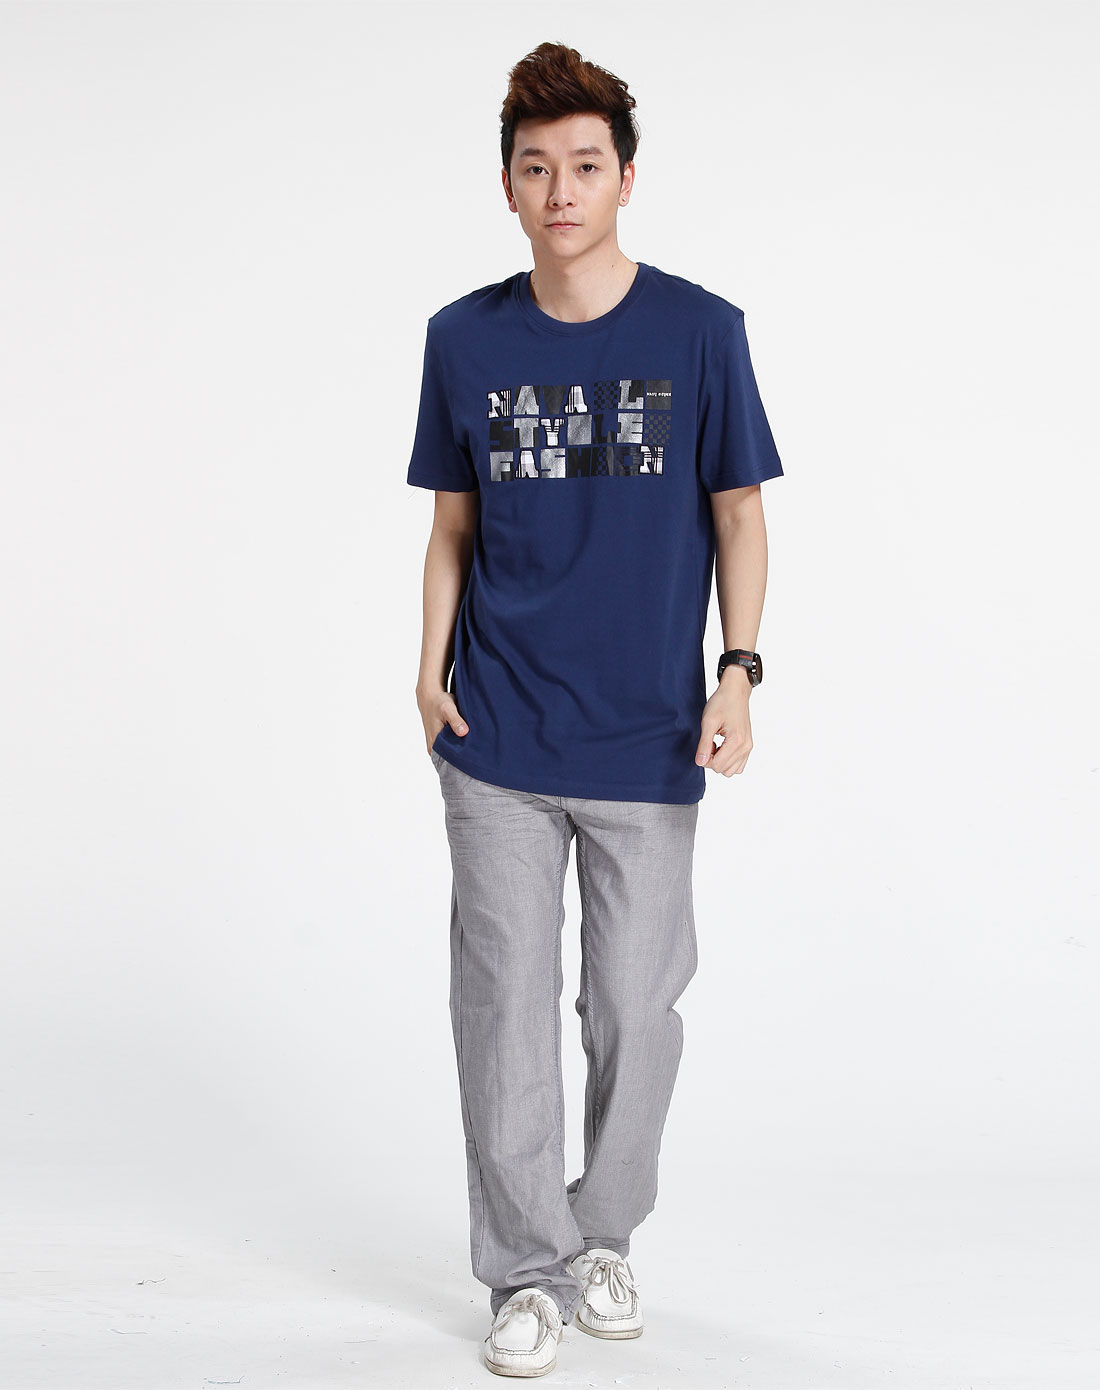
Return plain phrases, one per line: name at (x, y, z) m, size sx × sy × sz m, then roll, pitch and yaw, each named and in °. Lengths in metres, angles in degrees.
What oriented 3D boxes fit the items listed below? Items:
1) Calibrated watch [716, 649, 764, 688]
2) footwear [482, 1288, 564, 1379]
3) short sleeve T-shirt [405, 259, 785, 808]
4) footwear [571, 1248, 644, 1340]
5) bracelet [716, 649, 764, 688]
Calibrated watch at (0.267, -0.044, 2.157) m, size 0.073 × 0.046 × 0.074 m, roll -4°, pitch -38°, yaw 9°
footwear at (-0.038, 0.924, 2.145) m, size 0.066 × 0.059 × 0.149 m, roll 0°, pitch -6°, yaw 4°
short sleeve T-shirt at (0.045, -0.227, 2.173) m, size 0.566 × 0.762 × 0.248 m, roll 0°, pitch 5°, yaw 13°
footwear at (0.093, 0.922, 2.284) m, size 0.076 × 0.065 × 0.161 m, roll 1°, pitch -6°, yaw -5°
bracelet at (0.265, -0.042, 2.156) m, size 0.073 × 0.046 × 0.074 m, roll -4°, pitch -38°, yaw 9°
